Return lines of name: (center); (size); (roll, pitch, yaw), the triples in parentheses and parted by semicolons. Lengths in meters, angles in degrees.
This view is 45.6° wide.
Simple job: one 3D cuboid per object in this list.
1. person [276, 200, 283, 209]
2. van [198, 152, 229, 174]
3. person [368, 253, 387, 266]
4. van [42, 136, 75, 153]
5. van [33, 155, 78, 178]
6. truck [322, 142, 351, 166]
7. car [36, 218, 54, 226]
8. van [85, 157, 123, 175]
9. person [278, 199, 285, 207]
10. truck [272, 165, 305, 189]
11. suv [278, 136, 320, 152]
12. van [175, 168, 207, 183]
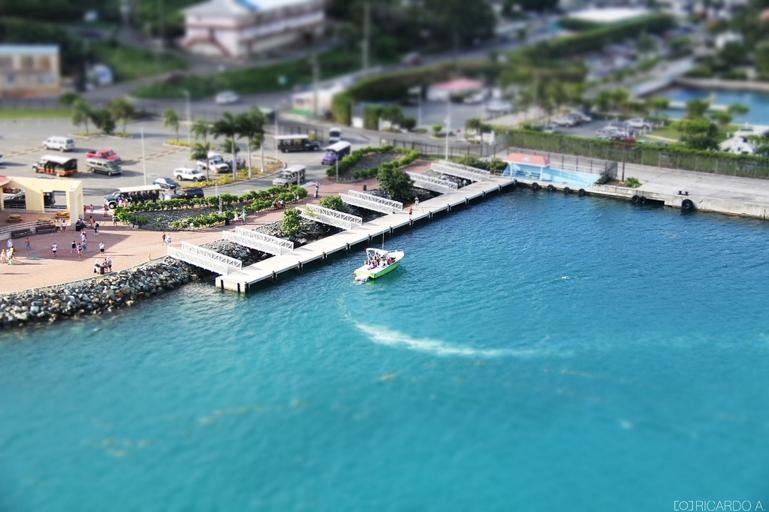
person: (-15.176, -7.575, 132.087); (0.851, 0.692, 1.240); (1, 14, 4)
van: (-27.163, -14.829, 146.180); (4.950, 2.921, 2.634); (-1, 13, 5)
person: (-0.942, 0.507, 115.003); (1.554, 0.694, 1.861); (6, 53, 1)
van: (-54.746, -18.811, 153.892); (4.448, 2.389, 1.893); (2, 14, 18)
van: (-51.096, -13.906, 141.840); (5.502, 3.139, 2.496); (1, 14, 13)
truck: (-7.928, -16.771, 150.557); (2.479, 2.000, 5.985); (13, 35, 24)
car: (-44.857, -4.518, 120.651); (2.093, 0.599, 1.923); (-6, 13, -21)
van: (-44.161, -14.040, 143.492); (5.330, 2.583, 1.549); (4, 15, 24)
person: (-14.949, -7.671, 132.102); (0.795, 0.660, 1.148); (-3, 25, -4)
truck: (-14.662, -12.120, 139.823); (2.775, 2.086, 5.881); (15, 27, 31)
suv: (-15.203, -19.447, 158.082); (6.815, 2.785, 1.628); (-3, 14, -6)
van: (-30.181, -12.464, 141.394); (4.413, 1.415, 2.155); (3, 25, 11)
